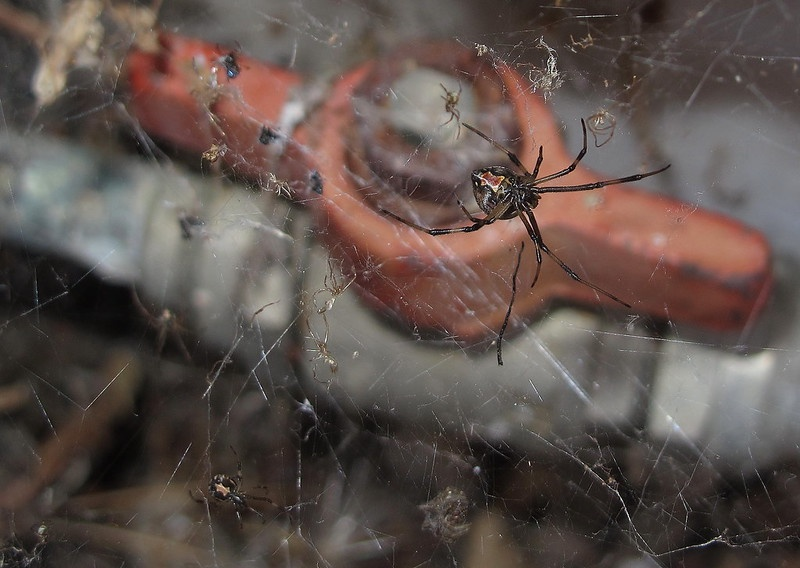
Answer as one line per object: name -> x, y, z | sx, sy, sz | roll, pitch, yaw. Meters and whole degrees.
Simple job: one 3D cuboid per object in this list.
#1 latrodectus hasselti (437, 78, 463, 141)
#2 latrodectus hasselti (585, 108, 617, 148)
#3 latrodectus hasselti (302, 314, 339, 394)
latrodectus hasselti -> 0.474, -1.554, 7.560 | 0.334, 0.114, 0.388 | 3, -89, -39
latrodectus hasselti -> 1.801, -1.392, 7.383 | 0.249, 0.108, 0.262 | -27, -62, 15
latrodectus hasselti -> -0.734, 0.652, 7.778 | 0.300, 0.371, 0.567 | -7, -58, 5
